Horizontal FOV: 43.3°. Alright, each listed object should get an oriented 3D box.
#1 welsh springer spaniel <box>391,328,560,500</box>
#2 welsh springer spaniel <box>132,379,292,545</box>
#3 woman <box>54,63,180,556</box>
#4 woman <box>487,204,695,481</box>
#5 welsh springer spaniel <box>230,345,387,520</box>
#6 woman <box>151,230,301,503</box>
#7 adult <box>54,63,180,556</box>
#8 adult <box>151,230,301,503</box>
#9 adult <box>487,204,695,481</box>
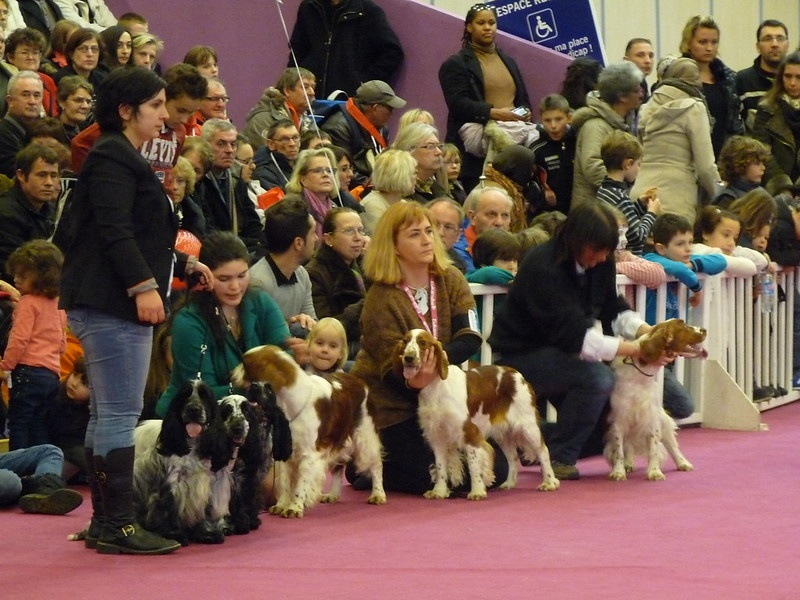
[{"bbox_3d":[0.472,0.755,6.464,1.304,1.064,0.475,2,-7,-41],"label":"welsh springer spaniel"},{"bbox_3d":[-0.910,0.864,5.293,0.845,0.773,0.647,6,2,41],"label":"welsh springer spaniel"},{"bbox_3d":[-1.382,0.069,4.994,0.557,2.374,0.481,-3,-9,-4],"label":"woman"},{"bbox_3d":[1.282,0.252,7.112,1.069,1.923,1.216,-2,13,-21],"label":"woman"},{"bbox_3d":[-0.491,0.785,5.961,0.356,0.929,1.137,2,-1,44],"label":"welsh springer spaniel"},{"bbox_3d":[-0.974,0.249,5.815,0.799,1.140,0.938,-4,16,-28],"label":"woman"},{"bbox_3d":[-1.383,0.069,4.994,0.558,2.374,0.481,-3,-9,-5],"label":"adult"},{"bbox_3d":[-0.997,0.235,5.810,0.894,1.137,0.937,6,10,11],"label":"adult"},{"bbox_3d":[1.298,0.247,7.164,1.061,1.921,1.156,-3,15,-23],"label":"adult"}]
